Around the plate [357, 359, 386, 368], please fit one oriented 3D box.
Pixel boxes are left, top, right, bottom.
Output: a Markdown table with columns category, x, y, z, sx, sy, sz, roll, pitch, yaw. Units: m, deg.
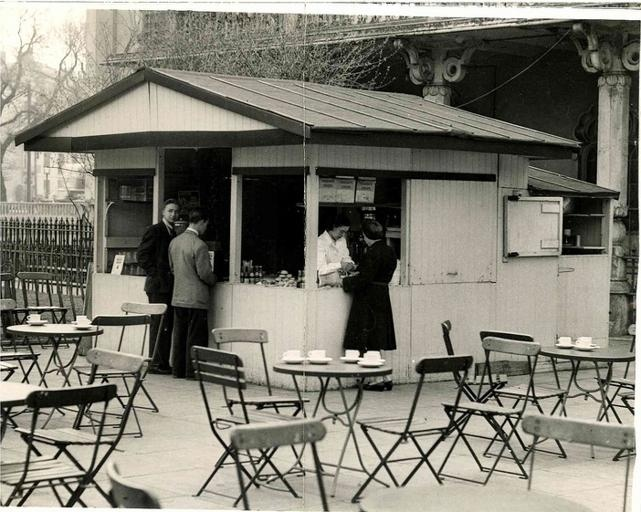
| category | x | y | z | sx | sy | sz | roll | pitch | yaw |
| --- | --- | --- | --- | --- | --- | --- | --- | --- | --- |
| plate | 0.485 | 1.030 | 11.408 | 0.256 | 0.052 | 0.300 | 2 | 1 | 1 |

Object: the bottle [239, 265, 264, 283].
| category | x | y | z | sx | sy | sz | roll | pitch | yaw |
| --- | --- | --- | --- | --- | --- | --- | --- | --- | --- |
| bottle | -0.907 | 0.234 | 15.362 | 0.181 | 0.362 | 0.333 | -3 | 4 | -41 |

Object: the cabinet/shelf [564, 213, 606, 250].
| category | x | y | z | sx | sy | sz | roll | pitch | yaw |
| --- | --- | --- | --- | --- | --- | --- | --- | --- | --- |
| cabinet/shelf | 4.007 | -0.403 | 18.263 | 0.490 | 0.737 | 0.666 | 5 | -6 | -35 |

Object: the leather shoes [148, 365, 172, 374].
| category | x | y | z | sx | sy | sz | roll | pitch | yaw |
| --- | --- | --- | --- | --- | --- | --- | --- | --- | --- |
| leather shoes | -2.162 | 1.536 | 15.805 | 0.301 | 0.153 | 0.121 | 0 | -1 | -2 |

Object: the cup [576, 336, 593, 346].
| category | x | y | z | sx | sy | sz | roll | pitch | yaw |
| --- | --- | --- | --- | --- | --- | --- | --- | --- | --- |
| cup | 2.907 | 0.928 | 12.858 | 0.189 | 0.099 | 0.190 | 0 | 3 | 0 |

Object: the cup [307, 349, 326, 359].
| category | x | y | z | sx | sy | sz | roll | pitch | yaw |
| --- | --- | --- | --- | --- | --- | --- | --- | --- | --- |
| cup | -0.050 | 0.964 | 11.533 | 0.133 | 0.095 | 0.109 | -1 | -2 | 3 |

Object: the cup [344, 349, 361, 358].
| category | x | y | z | sx | sy | sz | roll | pitch | yaw |
| --- | --- | --- | --- | --- | --- | --- | --- | --- | --- |
| cup | 0.321 | 0.966 | 11.601 | 0.126 | 0.066 | 0.103 | 5 | -7 | -29 |

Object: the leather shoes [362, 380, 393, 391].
| category | x | y | z | sx | sy | sz | roll | pitch | yaw |
| --- | --- | --- | --- | --- | --- | --- | --- | --- | --- |
| leather shoes | 0.723 | 1.632 | 15.004 | 0.390 | 0.207 | 0.140 | 2 | -2 | 3 |

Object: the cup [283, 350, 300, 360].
| category | x | y | z | sx | sy | sz | roll | pitch | yaw |
| --- | --- | --- | --- | --- | --- | --- | --- | --- | --- |
| cup | -0.292 | 0.979 | 11.594 | 0.122 | 0.089 | 0.099 | -2 | 0 | -3 |

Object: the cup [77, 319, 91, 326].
| category | x | y | z | sx | sy | sz | roll | pitch | yaw |
| --- | --- | --- | --- | --- | --- | --- | --- | --- | --- |
| cup | -2.716 | 0.760 | 13.466 | 0.080 | 0.084 | 0.115 | 0 | -3 | -1 |
